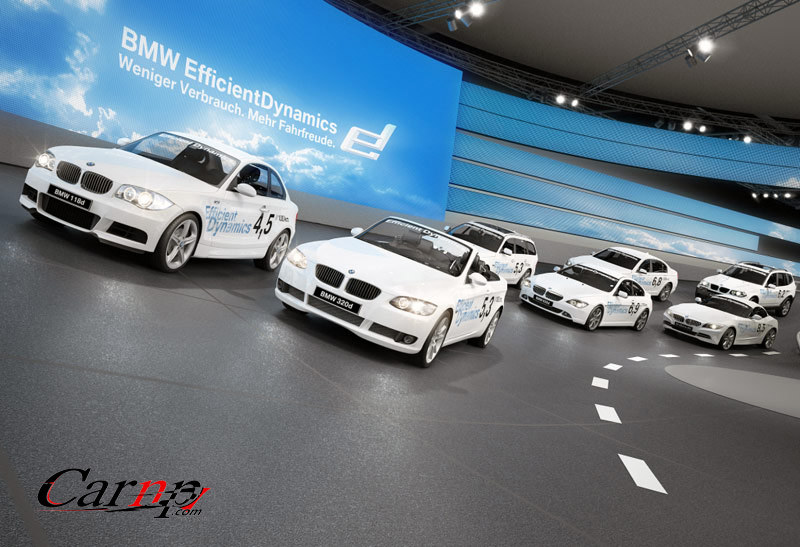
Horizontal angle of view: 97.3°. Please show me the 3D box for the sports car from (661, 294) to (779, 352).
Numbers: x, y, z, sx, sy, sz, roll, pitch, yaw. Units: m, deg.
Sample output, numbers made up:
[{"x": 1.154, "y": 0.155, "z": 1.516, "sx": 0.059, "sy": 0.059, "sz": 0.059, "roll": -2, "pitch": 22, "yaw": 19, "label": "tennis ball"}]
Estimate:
[{"x": 12.332, "y": 1.838, "z": 13.846, "sx": 4.577, "sy": 1.965, "sz": 1.435, "roll": 7, "pitch": 8, "yaw": -22, "label": "sports car"}]

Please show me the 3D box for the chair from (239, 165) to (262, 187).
[{"x": -3.122, "y": -2.082, "z": 7.407, "sx": 0.339, "sy": 0.407, "sz": 0.390, "roll": 19, "pitch": 25, "yaw": -8, "label": "chair"}]

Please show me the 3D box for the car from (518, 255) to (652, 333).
[{"x": 6.435, "y": 0.734, "z": 12.442, "sx": 4.500, "sy": 1.501, "sz": 1.809, "roll": 7, "pitch": 9, "yaw": -27, "label": "car"}]

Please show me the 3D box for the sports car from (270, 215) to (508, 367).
[{"x": 0.034, "y": 0.242, "z": 6.217, "sx": 4.003, "sy": 2.320, "sz": 1.989, "roll": 5, "pitch": 9, "yaw": -30, "label": "sports car"}]
